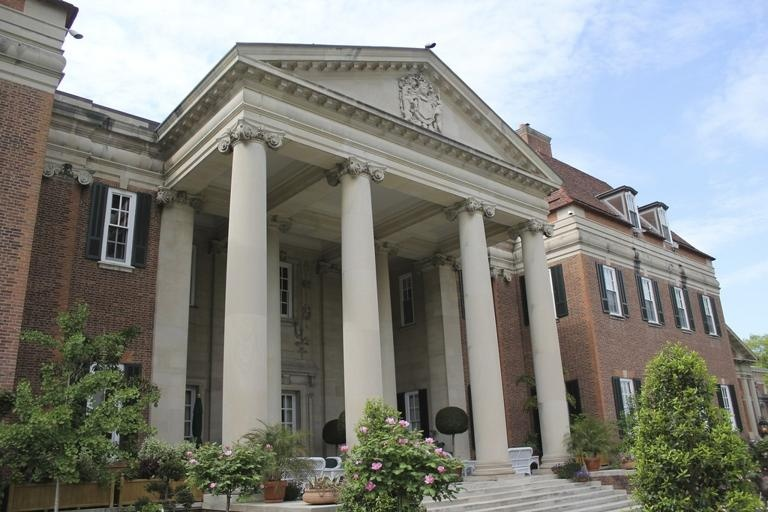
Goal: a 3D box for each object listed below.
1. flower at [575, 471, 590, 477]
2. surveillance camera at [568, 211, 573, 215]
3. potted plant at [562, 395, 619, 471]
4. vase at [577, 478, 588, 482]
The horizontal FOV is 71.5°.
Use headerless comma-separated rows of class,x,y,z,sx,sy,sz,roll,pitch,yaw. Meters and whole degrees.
flower,8.506,9.410,23.016,0.365,0.269,0.362,-1,-19,-1
surveillance camera,10.802,-2.479,31.005,0.239,0.175,0.237,-1,-14,-22
potted plant,10.040,8.393,24.622,2.078,2.399,2.067,16,-29,-29
vase,8.484,9.543,22.898,0.423,0.196,0.185,-9,-23,13
